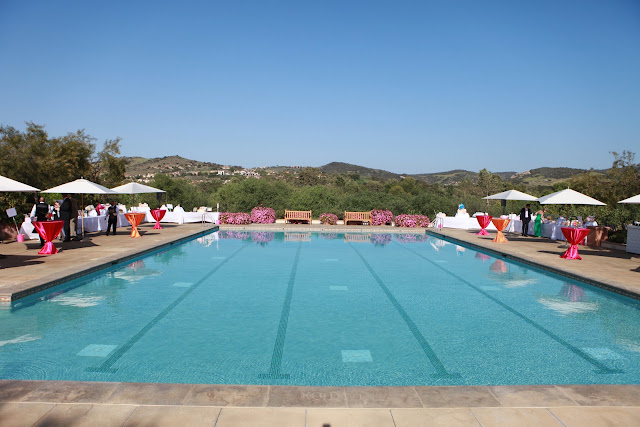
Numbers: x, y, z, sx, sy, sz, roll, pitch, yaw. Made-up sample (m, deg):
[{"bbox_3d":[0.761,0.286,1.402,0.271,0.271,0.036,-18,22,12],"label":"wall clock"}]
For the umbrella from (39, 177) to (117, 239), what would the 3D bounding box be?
[{"bbox_3d":[-10.356,-0.262,16.029,2.536,1.736,2.855,-1,-2,35],"label":"umbrella"}]

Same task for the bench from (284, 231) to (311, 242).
[{"bbox_3d":[-1.180,1.213,19.709,1.346,0.113,3.497,0,6,-4],"label":"bench"}]

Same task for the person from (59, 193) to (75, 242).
[{"bbox_3d":[-10.191,0.236,15.204,0.557,1.845,1.135,-5,10,-33],"label":"person"}]
